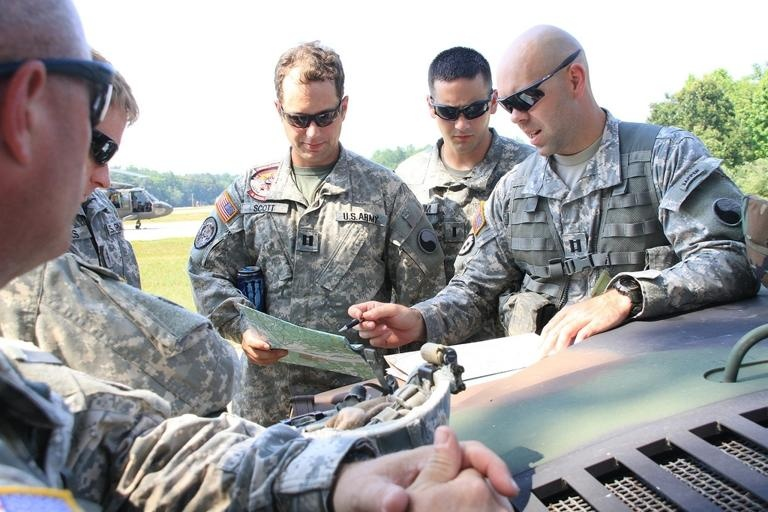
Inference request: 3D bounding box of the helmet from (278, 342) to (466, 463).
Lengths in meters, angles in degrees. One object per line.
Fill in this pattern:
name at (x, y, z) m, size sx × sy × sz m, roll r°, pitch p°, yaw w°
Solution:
helmet at (0.035, 0.488, 1.955) m, size 0.507 × 0.203 × 0.383 m, roll -21°, pitch 1°, yaw -28°
